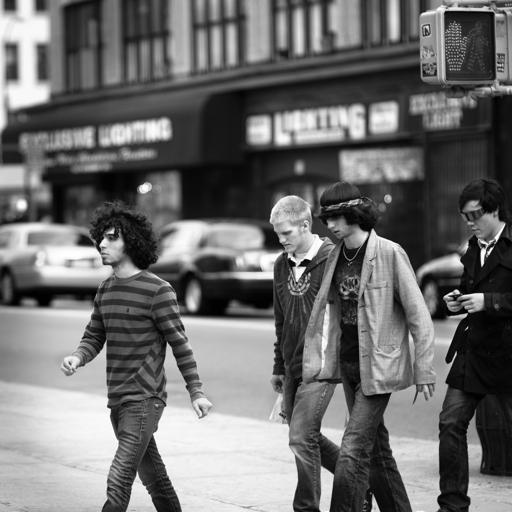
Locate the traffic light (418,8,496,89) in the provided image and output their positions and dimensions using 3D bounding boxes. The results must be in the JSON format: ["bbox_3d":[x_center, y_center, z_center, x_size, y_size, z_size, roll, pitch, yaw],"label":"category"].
[{"bbox_3d":[1.366,-1.366,8.614,0.576,0.711,0.475,-1,2,-12],"label":"traffic light"}]

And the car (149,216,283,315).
[{"bbox_3d":[-0.609,0.130,18.808,0.999,0.851,2.327,-1,4,-26],"label":"car"}]

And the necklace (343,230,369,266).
[{"bbox_3d":[0.488,-0.036,6.163,0.095,0.140,0.034,4,-10,43],"label":"necklace"}]
